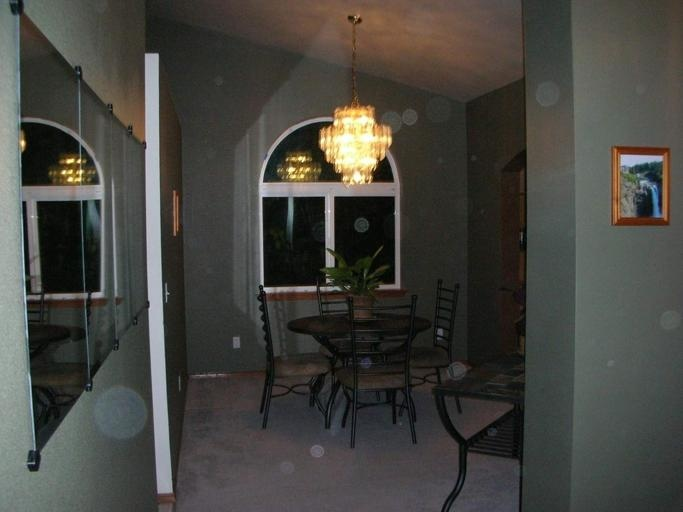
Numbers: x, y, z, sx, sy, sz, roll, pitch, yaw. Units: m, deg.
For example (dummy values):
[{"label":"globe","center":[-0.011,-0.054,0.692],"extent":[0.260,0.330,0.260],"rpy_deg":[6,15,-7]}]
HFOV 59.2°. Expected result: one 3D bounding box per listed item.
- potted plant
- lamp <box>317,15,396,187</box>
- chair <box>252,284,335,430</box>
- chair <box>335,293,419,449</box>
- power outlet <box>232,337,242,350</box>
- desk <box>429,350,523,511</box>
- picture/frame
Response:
[{"label":"potted plant","center":[0.108,0.207,4.375],"extent":[0.483,0.519,0.421],"rpy_deg":[-2,-7,-37]},{"label":"lamp","center":[0.092,-1.220,4.934],"extent":[0.531,1.272,0.947],"rpy_deg":[0,5,-2]},{"label":"chair","center":[-0.343,0.704,4.451],"extent":[0.563,0.943,0.514],"rpy_deg":[1,4,-18]},{"label":"chair","center":[0.253,0.694,4.435],"extent":[0.594,1.032,1.758],"rpy_deg":[0,5,3]},{"label":"power outlet","center":[-0.977,0.802,5.560],"extent":[0.113,0.164,0.018],"rpy_deg":[0,1,-11]},{"label":"desk","center":[0.679,0.888,2.946],"extent":[0.399,0.851,0.729],"rpy_deg":[1,6,17]},{"label":"picture/frame","center":[1.159,-0.280,2.359],"extent":[0.303,0.440,0.032],"rpy_deg":[1,-1,-8]}]
